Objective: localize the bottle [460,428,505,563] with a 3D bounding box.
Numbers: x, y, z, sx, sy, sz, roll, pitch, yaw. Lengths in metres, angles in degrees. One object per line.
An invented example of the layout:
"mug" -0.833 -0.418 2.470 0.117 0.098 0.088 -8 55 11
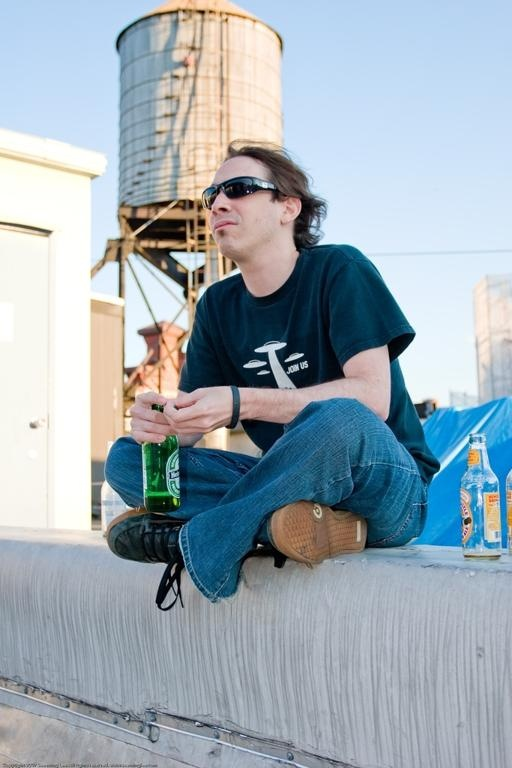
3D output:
"bottle" 0.522 0.256 2.448 0.085 0.279 0.160 -1 -3 10

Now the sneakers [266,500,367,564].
"sneakers" 0.159 0.336 2.363 0.111 0.087 0.287 1 -6 38

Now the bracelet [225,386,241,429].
"bracelet" -0.046 0.067 2.577 0.022 0.081 0.063 -5 13 -12

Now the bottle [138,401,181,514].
"bottle" -0.226 0.223 2.606 0.095 0.181 0.188 -1 -3 -5

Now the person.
"person" 0.030 -0.074 2.833 0.898 1.098 0.841 3 -11 -31

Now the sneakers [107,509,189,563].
"sneakers" -0.244 0.353 2.463 0.232 0.078 0.085 1 28 15
